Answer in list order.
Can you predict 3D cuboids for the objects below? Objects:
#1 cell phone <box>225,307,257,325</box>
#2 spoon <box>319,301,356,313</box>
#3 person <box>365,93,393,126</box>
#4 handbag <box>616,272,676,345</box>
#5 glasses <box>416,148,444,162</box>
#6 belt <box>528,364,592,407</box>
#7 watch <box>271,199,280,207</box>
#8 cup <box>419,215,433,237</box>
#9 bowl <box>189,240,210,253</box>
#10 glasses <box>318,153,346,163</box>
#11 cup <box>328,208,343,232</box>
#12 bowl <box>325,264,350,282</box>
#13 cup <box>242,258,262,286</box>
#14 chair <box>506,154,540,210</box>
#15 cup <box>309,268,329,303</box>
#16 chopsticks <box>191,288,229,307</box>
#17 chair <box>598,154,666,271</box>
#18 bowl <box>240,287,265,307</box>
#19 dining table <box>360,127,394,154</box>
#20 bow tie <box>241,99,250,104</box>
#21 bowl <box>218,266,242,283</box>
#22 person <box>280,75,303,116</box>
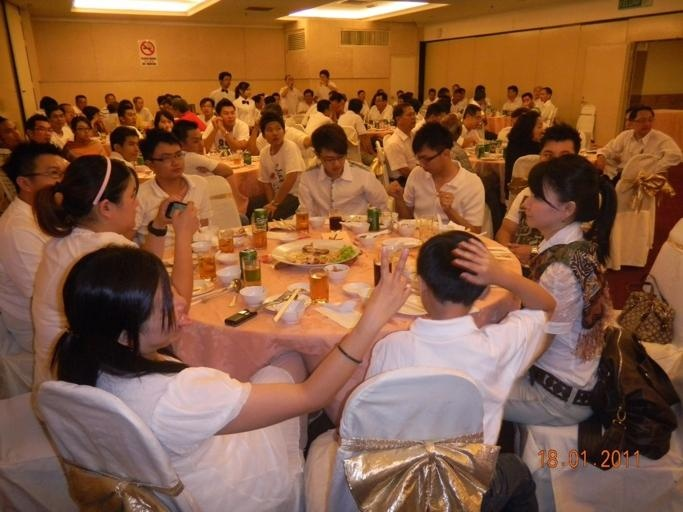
[{"bbox_3d":[-0.418,0.238,2.146,0.052,0.028,0.100,9,22,34],"label":"cell phone"},{"bbox_3d":[-0.008,0.211,2.212,0.086,0.034,0.067,12,9,28],"label":"spoon"},{"bbox_3d":[0.822,-3.198,11.194,0.559,0.662,1.526,1,17,3],"label":"person"},{"bbox_3d":[1.469,0.261,2.479,0.117,0.280,0.211,9,18,-37],"label":"handbag"},{"bbox_3d":[0.592,-0.648,3.381,0.203,0.120,0.109,4,16,12],"label":"glasses"},{"bbox_3d":[0.889,0.510,2.120,0.149,0.045,0.150,31,-4,-11],"label":"belt"},{"bbox_3d":[-0.608,-0.491,4.775,0.067,0.026,0.101,7,13,12],"label":"watch"},{"bbox_3d":[0.464,-0.159,2.852,0.094,0.167,0.096,0,3,0],"label":"cup"},{"bbox_3d":[-0.708,-0.048,2.588,0.070,0.033,0.074,2,11,0],"label":"bowl"},{"bbox_3d":[-0.060,-0.689,3.582,0.173,0.067,0.115,0,16,-3],"label":"glasses"},{"bbox_3d":[-0.034,-0.211,3.125,0.111,0.198,0.113,0,5,0],"label":"cup"},{"bbox_3d":[-0.021,0.075,2.453,0.082,0.053,0.087,0,11,0],"label":"bowl"},{"bbox_3d":[-0.406,0.082,2.363,0.070,0.135,0.128,-1,7,-3],"label":"cup"},{"bbox_3d":[1.512,-0.648,4.133,0.248,0.374,0.244,18,-4,38],"label":"chair"},{"bbox_3d":[-0.098,0.127,2.287,0.089,0.156,0.091,0,11,0],"label":"cup"},{"bbox_3d":[-0.592,0.187,2.303,0.027,0.028,0.185,38,33,18],"label":"chopsticks"},{"bbox_3d":[2.750,-0.373,4.940,0.543,1.330,0.484,-10,30,8],"label":"chair"},{"bbox_3d":[-0.386,0.169,2.262,0.082,0.056,0.088,-9,25,4],"label":"bowl"},{"bbox_3d":[0.595,-2.130,9.119,0.690,0.451,0.736,-1,18,1],"label":"dining table"},{"bbox_3d":[-1.853,-2.959,9.921,0.049,0.039,0.205,18,19,26],"label":"bow tie"},{"bbox_3d":[-0.528,0.078,2.460,0.078,0.045,0.082,-3,10,1],"label":"bowl"},{"bbox_3d":[-1.193,-3.549,12.295,0.467,1.378,0.395,-9,15,-22],"label":"person"}]
